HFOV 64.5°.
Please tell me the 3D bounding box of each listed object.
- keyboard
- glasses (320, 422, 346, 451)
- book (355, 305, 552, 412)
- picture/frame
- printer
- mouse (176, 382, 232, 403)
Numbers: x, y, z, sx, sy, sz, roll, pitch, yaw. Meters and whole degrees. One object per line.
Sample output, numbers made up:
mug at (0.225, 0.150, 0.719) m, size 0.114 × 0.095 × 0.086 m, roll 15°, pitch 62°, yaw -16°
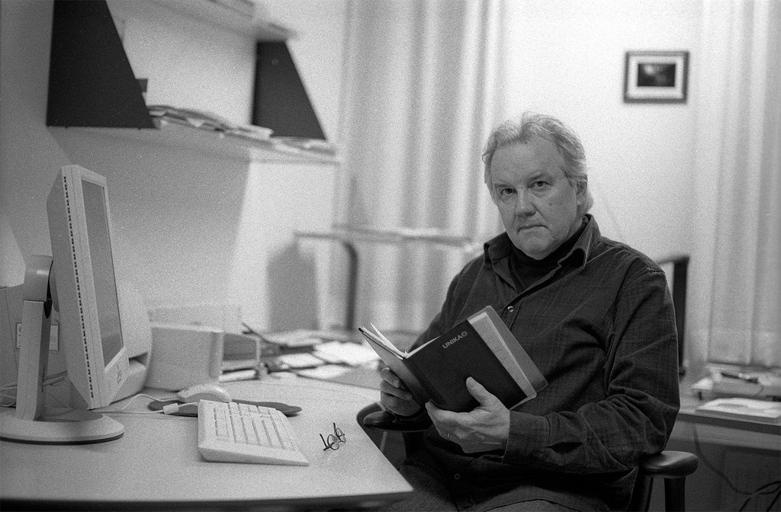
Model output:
keyboard at (-0.355, 0.458, 1.623) m, size 0.256 × 0.055 × 0.387 m, roll 7°, pitch 1°, yaw -19°
glasses at (-0.152, 0.487, 1.636) m, size 0.052 × 0.015 × 0.048 m, roll -8°, pitch 14°, yaw 15°
book at (0.201, 0.281, 1.578) m, size 0.298 × 0.386 × 0.114 m, roll -29°, pitch 20°, yaw 32°
picture/frame at (1.003, -0.671, 2.294) m, size 0.260 × 0.199 × 0.018 m, roll 1°, pitch 0°, yaw 17°
printer at (-0.891, 0.268, 1.791) m, size 0.351 × 0.391 × 0.488 m, roll -1°, pitch -2°, yaw 9°
mouse at (-0.539, 0.399, 1.813) m, size 0.122 × 0.036 × 0.068 m, roll 5°, pitch -3°, yaw -4°
